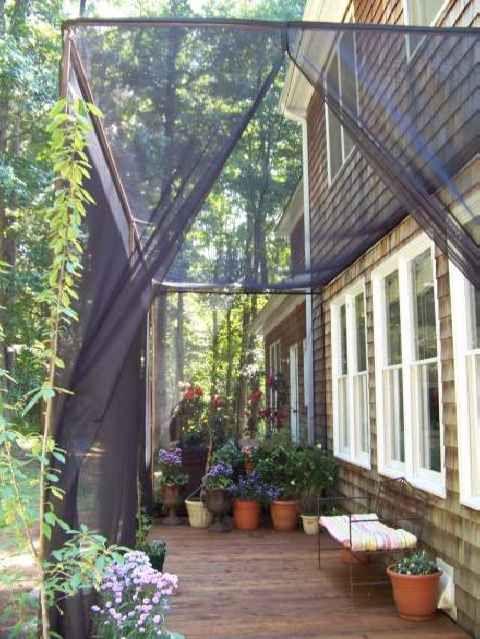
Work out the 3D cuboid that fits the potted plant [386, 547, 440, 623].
[{"bbox_3d":[1.032,1.525,3.287,0.207,0.381,0.257,-1,-3,-6],"label":"potted plant"}]
